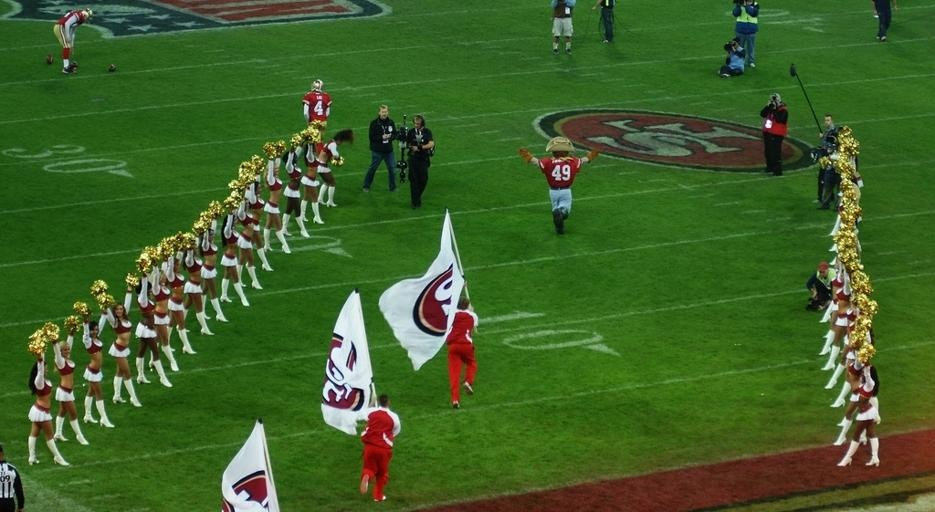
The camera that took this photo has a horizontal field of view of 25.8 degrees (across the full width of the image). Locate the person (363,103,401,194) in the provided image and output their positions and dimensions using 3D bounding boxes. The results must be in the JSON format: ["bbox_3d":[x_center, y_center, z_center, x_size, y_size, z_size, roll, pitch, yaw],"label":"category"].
[{"bbox_3d":[-2.425,-2.896,55.121,1.168,2.477,1.476,-10,23,-2],"label":"person"}]

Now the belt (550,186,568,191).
[{"bbox_3d":[2.364,-1.736,53.206,0.431,0.074,0.077,-2,21,5],"label":"belt"}]

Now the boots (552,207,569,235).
[{"bbox_3d":[2.369,-0.912,53.244,0.413,0.754,0.363,2,47,-2],"label":"boots"}]

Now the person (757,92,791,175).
[{"bbox_3d":[8.401,-3.279,55.765,1.121,2.070,0.934,6,10,1],"label":"person"}]

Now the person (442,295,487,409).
[{"bbox_3d":[-0.170,2.244,48.028,1.115,2.498,1.118,-7,-17,24],"label":"person"}]

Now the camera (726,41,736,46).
[{"bbox_3d":[7.951,-6.367,61.876,0.242,0.074,0.262,1,16,13],"label":"camera"}]
